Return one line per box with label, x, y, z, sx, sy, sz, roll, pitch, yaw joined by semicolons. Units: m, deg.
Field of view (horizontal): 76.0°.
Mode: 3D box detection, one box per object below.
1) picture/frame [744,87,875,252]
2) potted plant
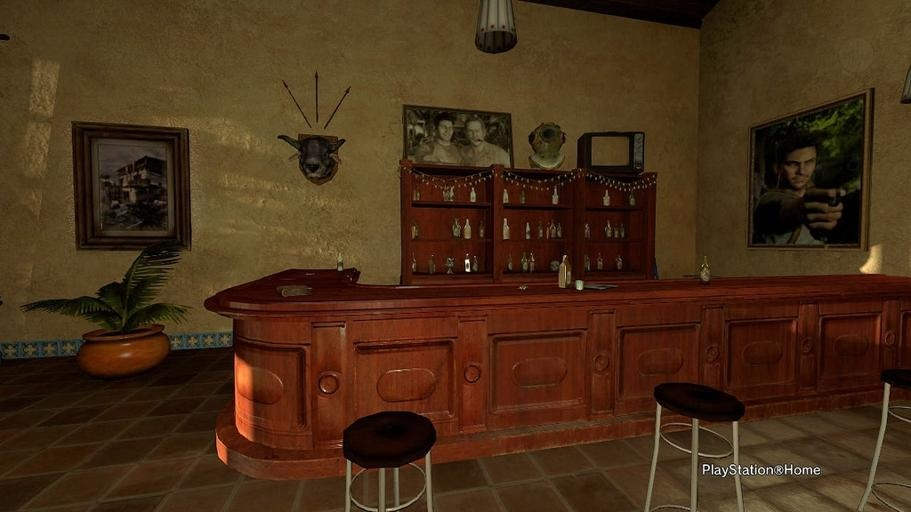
picture/frame;5.376;-1.262;8.960;1.599;2.291;0.213;2;5;45
potted plant;-5.261;0.702;9.154;2.318;1.560;2.192;-1;0;-24
